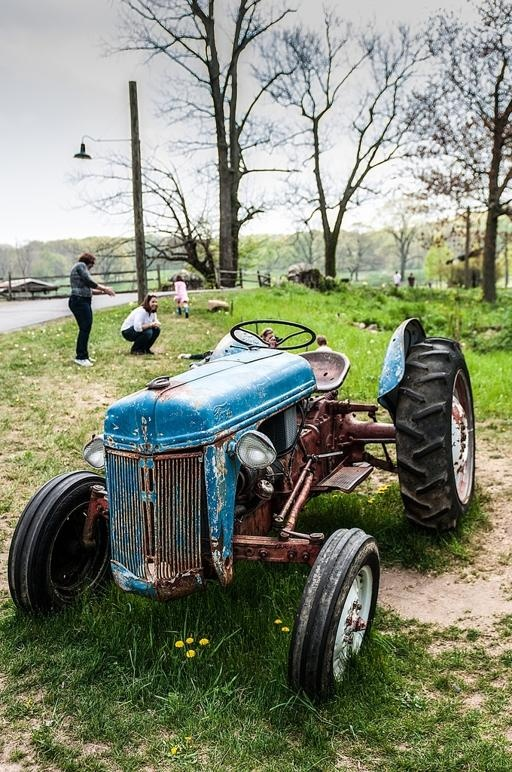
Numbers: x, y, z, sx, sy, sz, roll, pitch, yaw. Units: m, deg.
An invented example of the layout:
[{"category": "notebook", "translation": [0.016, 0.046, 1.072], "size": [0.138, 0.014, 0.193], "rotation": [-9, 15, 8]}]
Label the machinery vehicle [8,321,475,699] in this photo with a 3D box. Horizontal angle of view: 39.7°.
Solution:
[{"category": "machinery vehicle", "translation": [0.228, 0.333, 3.915], "size": [1.455, 1.149, 2.391], "rotation": [-2, 5, 25]}]

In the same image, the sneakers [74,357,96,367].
[{"category": "sneakers", "translation": [-2.342, -0.334, 9.742], "size": [0.292, 0.124, 0.107], "rotation": [1, 8, 37]}]
